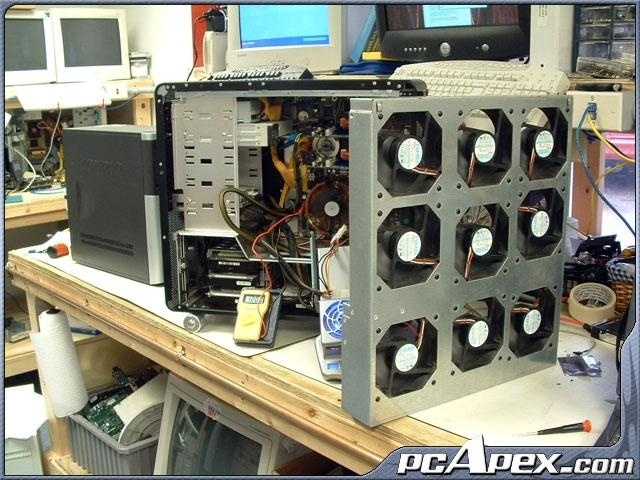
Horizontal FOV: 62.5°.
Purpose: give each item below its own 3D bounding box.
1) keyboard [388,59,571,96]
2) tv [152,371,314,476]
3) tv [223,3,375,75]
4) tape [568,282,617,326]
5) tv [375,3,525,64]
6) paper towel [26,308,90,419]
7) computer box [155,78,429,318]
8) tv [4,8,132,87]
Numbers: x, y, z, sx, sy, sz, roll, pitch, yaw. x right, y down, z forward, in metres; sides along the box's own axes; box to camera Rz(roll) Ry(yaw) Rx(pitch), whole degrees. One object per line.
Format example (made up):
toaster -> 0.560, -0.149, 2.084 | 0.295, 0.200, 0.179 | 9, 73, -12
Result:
keyboard -> 0.361, -0.384, 1.239 | 0.399, 0.094, 0.243 | 4, 16, 22
tv -> -0.207, 0.464, 1.325 | 0.377, 0.310, 0.210 | 11, 2, 39
tv -> -0.146, -0.692, 1.799 | 0.483, 0.258, 0.150 | 10, 19, 40
tape -> 0.686, 0.160, 1.323 | 0.106, 0.057, 0.107 | 12, 41, 44
tv -> 0.353, -0.585, 1.469 | 0.436, 0.172, 0.085 | 11, 20, 42
paper towel -> -0.846, 0.410, 1.726 | 0.133, 0.368, 0.160 | -9, 17, -34
computer box -> -0.099, -0.188, 1.482 | 0.657, 0.563, 0.497 | 15, 23, 38
tv -> -1.393, -1.070, 2.912 | 0.104, 0.414, 0.693 | 10, 19, 41
